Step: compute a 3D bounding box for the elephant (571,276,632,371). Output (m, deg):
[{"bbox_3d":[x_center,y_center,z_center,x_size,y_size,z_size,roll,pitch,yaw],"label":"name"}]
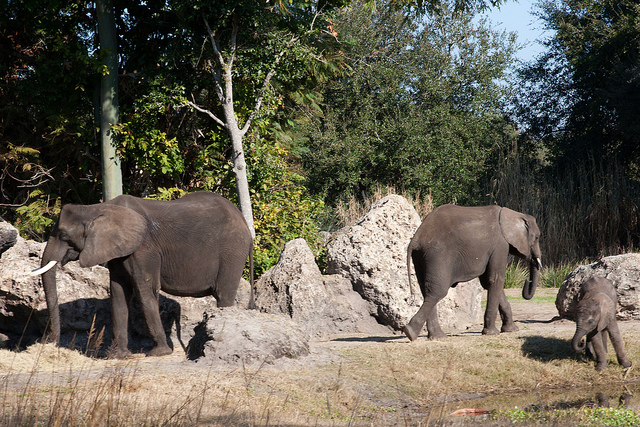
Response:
[{"bbox_3d":[5.777,2.235,15.944,1.310,1.923,0.588,4,-9,-20],"label":"elephant"}]
